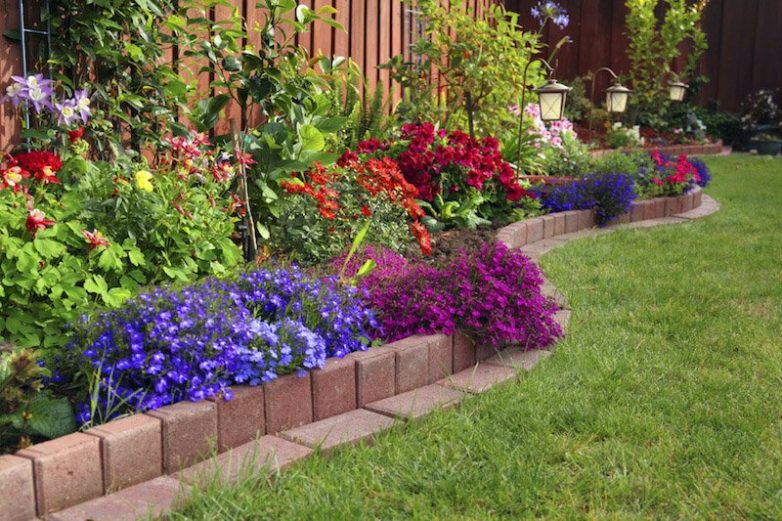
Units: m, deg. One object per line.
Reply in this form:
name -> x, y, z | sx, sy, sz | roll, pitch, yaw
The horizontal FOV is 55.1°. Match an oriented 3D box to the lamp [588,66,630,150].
lamp -> 2.968, -2.144, 10.322 | 0.524, 1.043, 0.299 | 9, 14, 30
